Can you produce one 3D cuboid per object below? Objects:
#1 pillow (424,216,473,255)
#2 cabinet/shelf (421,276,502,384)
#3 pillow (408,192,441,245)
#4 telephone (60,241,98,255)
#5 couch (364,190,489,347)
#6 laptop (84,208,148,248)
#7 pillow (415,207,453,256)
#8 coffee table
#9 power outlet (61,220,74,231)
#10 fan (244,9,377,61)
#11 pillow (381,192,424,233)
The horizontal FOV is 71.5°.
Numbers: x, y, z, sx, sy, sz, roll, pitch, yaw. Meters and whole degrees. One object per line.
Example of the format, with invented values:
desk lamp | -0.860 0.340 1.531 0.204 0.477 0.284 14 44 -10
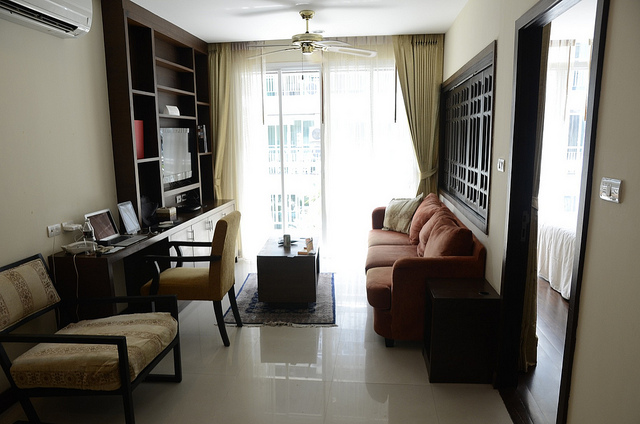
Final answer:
pillow | 1.305 0.253 4.512 0.136 0.291 0.372 22 5 0
cabinet/shelf | 1.277 1.019 4.380 0.742 1.100 0.771 2 8 11
pillow | 1.262 0.050 5.467 0.156 0.534 0.524 21 -10 7
telephone | -2.225 0.333 4.123 0.198 0.076 0.171 -4 14 -10
couch | 1.025 -0.046 4.577 1.097 1.186 2.693 1 14 12
laptop | -2.060 0.185 4.463 0.417 0.308 0.412 2 12 6
pillow | 1.367 0.188 5.002 0.140 0.470 0.474 25 49 10
coffee table | -0.356 0.730 5.136 0.594 0.533 1.101 0 13 2
power outlet | -2.408 0.143 4.252 0.071 0.092 0.134 -1 10 -3
fan | -0.205 -1.932 5.078 1.132 0.347 1.053 -13 26 -31
pillow | 1.121 0.027 5.945 0.194 0.423 0.451 2 -18 -45
